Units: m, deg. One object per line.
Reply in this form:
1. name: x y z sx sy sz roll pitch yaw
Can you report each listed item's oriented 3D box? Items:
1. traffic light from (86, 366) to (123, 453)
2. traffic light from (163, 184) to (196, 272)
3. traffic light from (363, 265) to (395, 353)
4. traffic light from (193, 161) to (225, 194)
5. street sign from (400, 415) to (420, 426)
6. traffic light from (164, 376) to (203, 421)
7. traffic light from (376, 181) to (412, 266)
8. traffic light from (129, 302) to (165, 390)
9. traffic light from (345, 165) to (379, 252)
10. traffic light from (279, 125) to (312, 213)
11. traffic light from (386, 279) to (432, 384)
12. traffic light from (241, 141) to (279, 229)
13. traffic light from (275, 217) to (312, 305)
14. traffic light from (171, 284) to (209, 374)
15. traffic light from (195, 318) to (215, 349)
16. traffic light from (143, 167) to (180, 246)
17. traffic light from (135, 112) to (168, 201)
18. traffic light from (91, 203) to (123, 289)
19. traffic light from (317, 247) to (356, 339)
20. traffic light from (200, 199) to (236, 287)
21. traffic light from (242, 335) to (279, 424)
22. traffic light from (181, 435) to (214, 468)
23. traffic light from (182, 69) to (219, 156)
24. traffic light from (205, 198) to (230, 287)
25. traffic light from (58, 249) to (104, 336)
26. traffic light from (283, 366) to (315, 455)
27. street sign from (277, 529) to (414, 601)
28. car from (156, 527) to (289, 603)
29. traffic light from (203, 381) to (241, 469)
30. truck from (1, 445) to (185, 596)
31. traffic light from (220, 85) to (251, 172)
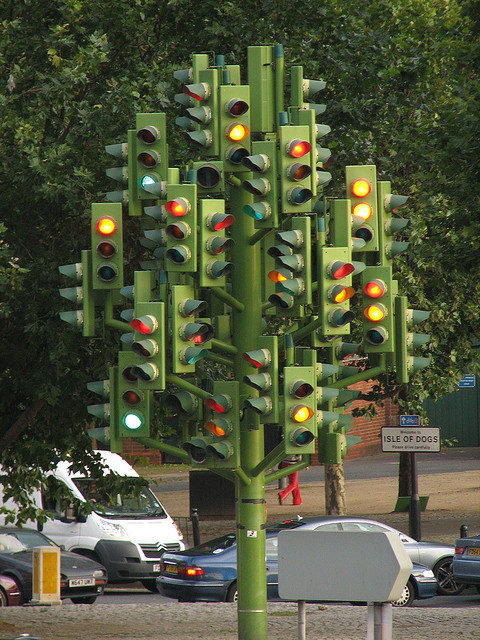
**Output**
1. traffic light: -1.182 0.786 15.845 0.283 0.808 0.870 -2 2 -5
2. traffic light: -0.494 -0.765 15.130 0.273 0.721 0.155 -2 2 -2
3. traffic light: 1.230 -0.104 16.173 0.267 0.752 0.283 -2 2 4
4. traffic light: -0.260 -1.217 15.575 0.255 0.277 0.213 -2 2 0
5. street sign: 2.371 1.383 25.429 0.273 0.141 0.264 -2 2 5
6. traffic light: -0.500 0.733 15.774 0.321 0.294 0.372 -1 2 22
7. traffic light: 1.368 -0.875 16.424 0.294 0.763 0.400 -2 2 4
8. traffic light: -0.752 0.204 15.032 0.273 0.699 0.204 -2 2 -1
9. traffic light: 1.100 -0.982 16.339 0.270 0.738 0.218 -5 10 -3
10. traffic light: 0.474 -1.276 15.431 0.259 0.735 0.261 -2 2 1
11. traffic light: 1.504 0.102 16.380 0.388 0.925 0.412 -2 2 5
12. traffic light: 0.176 -1.141 15.373 0.289 0.726 0.252 -2 2 2
13. traffic light: 0.457 -0.497 15.308 0.298 0.730 0.280 -2 2 -2
14. traffic light: -0.408 0.065 15.036 0.251 0.709 0.348 -1 3 31
15. traffic light: -0.302 0.112 15.302 0.152 0.269 0.279 1 0 31
16. traffic light: -0.678 -0.770 15.551 0.309 0.668 0.140 -5 20 -15
17. traffic light: -0.771 -1.421 15.806 0.279 0.744 0.359 -2 2 -3
18. traffic light: -1.148 -0.641 15.758 0.263 0.736 0.139 -2 2 -5
19. traffic light: 0.816 -0.236 15.432 0.310 0.765 0.277 -2 2 4
20. traffic light: -0.168 -0.646 15.230 0.235 0.728 0.408 -1 2 27
21. traffic light: 0.181 0.507 15.269 0.295 0.732 0.242 -2 1 -14
22. traffic light: -0.369 1.112 15.555 0.321 0.310 0.266 0 -1 36
23. traffic light: -0.332 -1.787 15.725 0.295 0.756 0.304 -2 2 -1
24. traffic light: -0.200 -0.647 15.225 0.202 0.717 0.278 -2 2 -1
25. traffic light: -1.384 -0.242 15.980 0.385 0.749 0.464 -2 2 -5
26. traffic light: 0.493 0.741 15.080 0.262 0.722 0.220 -2 2 1
27. street sign: 0.716 1.843 13.752 1.070 0.514 0.141 5 -10 -24
28. car: 0.141 3.035 22.584 2.341 0.725 1.060 -2 1 -21
29. traffic light: -0.148 0.871 15.299 0.268 0.724 0.257 -1 2 15
30. truck: -1.702 2.729 24.911 1.841 1.802 3.614 4 -6 -43
31. traffic light: -0.043 -1.645 15.646 0.266 0.743 0.278 -2 2 -1
